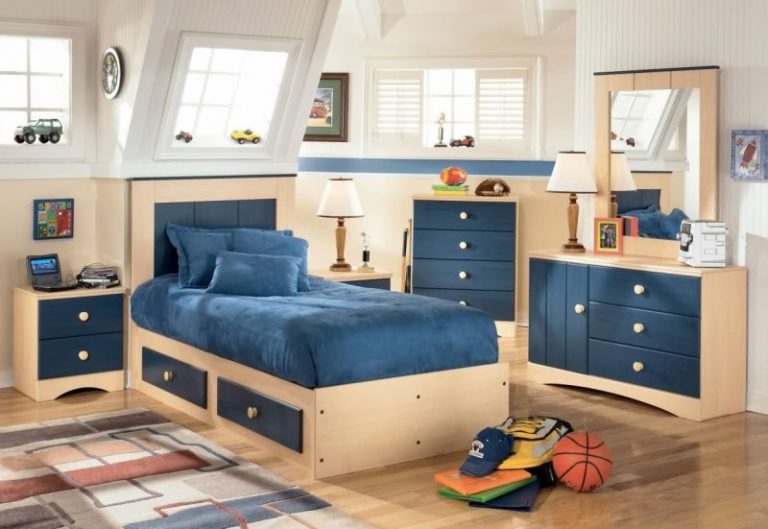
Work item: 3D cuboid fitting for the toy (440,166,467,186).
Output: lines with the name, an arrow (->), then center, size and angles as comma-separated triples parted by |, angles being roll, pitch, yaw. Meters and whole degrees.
toy -> 0.687, -0.889, 5.932 | 0.249, 0.141, 0.169 | 2, 2, -28

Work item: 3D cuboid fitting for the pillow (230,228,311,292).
pillow -> -0.800, -0.094, 4.328 | 0.523, 0.485, 0.197 | -1, -23, -9

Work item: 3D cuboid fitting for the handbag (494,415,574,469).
handbag -> 0.763, 0.878, 3.099 | 0.325, 0.130, 0.548 | 9, 11, 34

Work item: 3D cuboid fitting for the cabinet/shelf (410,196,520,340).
cabinet/shelf -> 0.898, -0.026, 6.056 | 1.102, 1.360, 0.732 | 2, 5, 24

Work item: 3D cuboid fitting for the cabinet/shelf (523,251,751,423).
cabinet/shelf -> 1.819, 0.474, 4.317 | 0.595, 0.946, 1.626 | -1, 3, -23

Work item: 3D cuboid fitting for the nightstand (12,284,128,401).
nightstand -> -2.187, 0.460, 4.372 | 0.927, 1.007, 0.738 | -2, 2, -36

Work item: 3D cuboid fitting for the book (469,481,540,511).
book -> 0.601, 1.075, 2.698 | 0.393, 0.045, 0.167 | -3, 7, -27

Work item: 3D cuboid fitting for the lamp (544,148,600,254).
lamp -> 1.432, -0.471, 4.511 | 0.445, 0.745, 0.424 | 1, 5, 26

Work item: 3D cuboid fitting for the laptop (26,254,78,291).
laptop -> -2.354, 0.068, 4.244 | 0.308, 0.205, 0.311 | 9, 9, 43

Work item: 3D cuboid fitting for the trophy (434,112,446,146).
trophy -> 0.612, -1.432, 6.279 | 0.111, 0.363, 0.074 | 1, 6, 7

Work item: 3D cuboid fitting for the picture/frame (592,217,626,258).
picture/frame -> 1.634, -0.195, 4.293 | 0.315, 0.406, 0.032 | 1, -1, 40

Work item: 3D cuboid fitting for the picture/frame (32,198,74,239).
picture/frame -> -2.461, -0.348, 4.420 | 0.326, 0.319, 0.045 | -2, 7, -35

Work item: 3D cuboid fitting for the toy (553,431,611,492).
toy -> 0.985, 0.946, 2.877 | 0.291, 0.273, 0.280 | -5, 32, 9

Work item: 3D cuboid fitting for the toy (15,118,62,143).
toy -> -2.512, -0.983, 4.364 | 0.275, 0.153, 0.163 | 0, 3, -28

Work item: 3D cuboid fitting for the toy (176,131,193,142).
toy -> -1.517, -0.984, 4.543 | 0.116, 0.064, 0.066 | 7, 6, -44

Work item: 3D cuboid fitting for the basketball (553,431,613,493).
basketball -> 0.898, 0.952, 2.872 | 0.284, 0.264, 0.273 | 1, 8, -2

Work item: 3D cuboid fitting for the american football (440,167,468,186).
american football -> 0.704, -0.886, 5.954 | 0.254, 0.143, 0.170 | 3, 0, 1

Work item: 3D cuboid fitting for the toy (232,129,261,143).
toy -> -1.103, -1.034, 4.772 | 0.119, 0.078, 0.175 | -1, 10, -21

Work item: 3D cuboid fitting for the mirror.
mirror -> 1.934, -0.859, 4.255 | 0.856, 1.045, 0.051 | -3, 12, 2

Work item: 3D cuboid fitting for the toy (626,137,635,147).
toy -> 1.789, -0.899, 4.319 | 0.061, 0.052, 0.057 | 1, 1, 7

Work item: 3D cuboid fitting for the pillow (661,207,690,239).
pillow -> 2.001, -0.286, 4.087 | 0.059, 0.178, 0.160 | -2, 14, -20
